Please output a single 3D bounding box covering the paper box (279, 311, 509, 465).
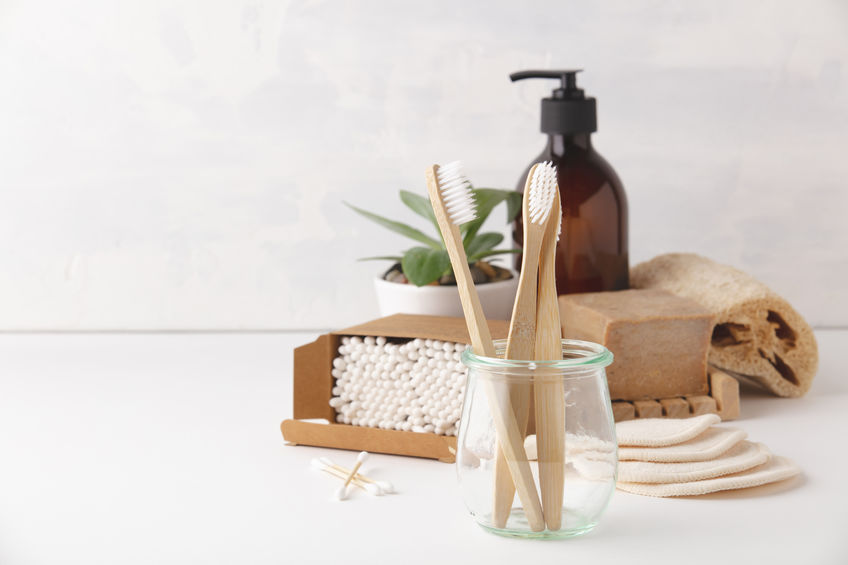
[{"bbox_3d":[0.008,0.119,0.945,0.258,0.120,0.203,-2,-11,42],"label":"paper box"}]

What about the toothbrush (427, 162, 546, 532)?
[{"bbox_3d":[0.056,0.056,0.753,0.106,0.304,0.015,-11,1,-11],"label":"toothbrush"}]

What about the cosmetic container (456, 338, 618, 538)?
[{"bbox_3d":[0.107,0.144,0.808,0.165,0.161,0.157,-2,0,-14],"label":"cosmetic container"}]

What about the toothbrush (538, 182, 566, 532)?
[{"bbox_3d":[0.110,0.072,0.735,0.029,0.263,0.018,-1,0,7],"label":"toothbrush"}]
